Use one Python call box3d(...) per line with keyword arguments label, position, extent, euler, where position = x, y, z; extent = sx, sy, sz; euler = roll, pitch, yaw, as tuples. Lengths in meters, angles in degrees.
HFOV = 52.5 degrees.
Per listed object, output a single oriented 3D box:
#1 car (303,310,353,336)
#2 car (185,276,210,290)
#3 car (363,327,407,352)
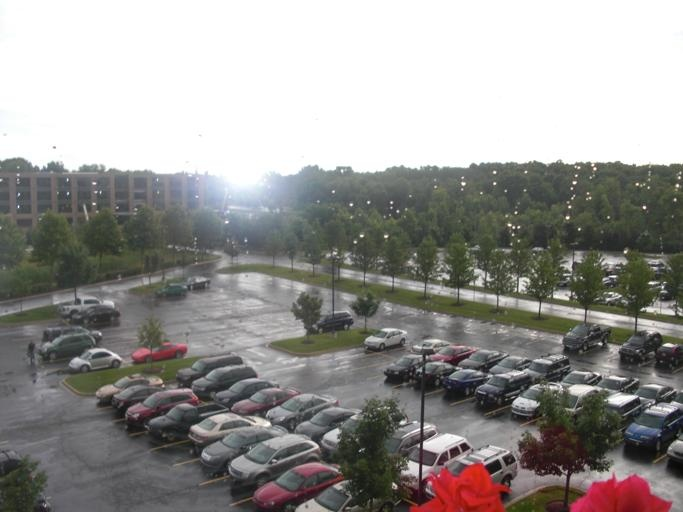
box3d(label="car", position=(-0.380, 6.428, 66.391), extent=(3.515, 1.438, 1.639), euler=(-1, 1, -36))
box3d(label="car", position=(-16.781, 3.490, 86.097), extent=(2.401, 0.930, 1.388), euler=(-12, 18, -32))
box3d(label="car", position=(4.075, 7.463, 60.408), extent=(3.497, 1.335, 1.585), euler=(-2, 3, -39))
